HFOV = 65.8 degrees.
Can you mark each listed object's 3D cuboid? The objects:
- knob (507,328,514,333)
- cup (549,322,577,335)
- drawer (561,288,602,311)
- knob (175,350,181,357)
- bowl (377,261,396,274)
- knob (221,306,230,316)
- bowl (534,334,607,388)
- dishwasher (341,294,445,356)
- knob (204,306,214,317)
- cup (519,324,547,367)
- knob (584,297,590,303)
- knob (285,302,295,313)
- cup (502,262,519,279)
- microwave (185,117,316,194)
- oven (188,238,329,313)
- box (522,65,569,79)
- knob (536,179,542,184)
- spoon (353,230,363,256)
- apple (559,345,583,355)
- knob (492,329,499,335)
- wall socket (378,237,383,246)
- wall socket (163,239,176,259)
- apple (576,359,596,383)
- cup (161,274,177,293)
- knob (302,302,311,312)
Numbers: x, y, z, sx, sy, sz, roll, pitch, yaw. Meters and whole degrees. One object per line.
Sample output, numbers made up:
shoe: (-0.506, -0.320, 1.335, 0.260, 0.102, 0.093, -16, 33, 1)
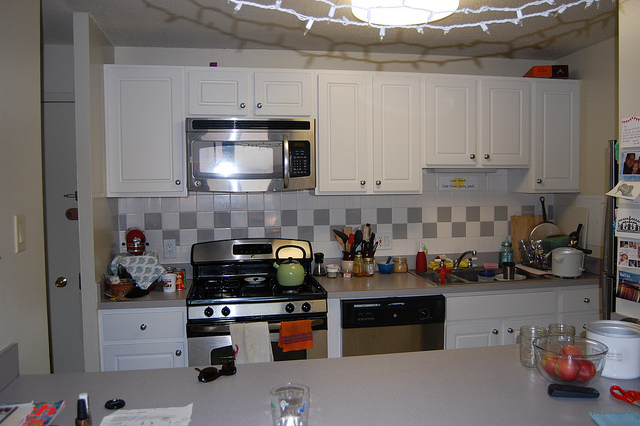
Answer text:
knob: (1.540, 0.951, 3.992, 0.048, 0.042, 0.014, -2, 12, -6)
cup: (1.341, 0.639, 2.754, 0.074, 0.072, 0.071, 1, 0, 0)
drawer: (2.139, 0.717, 4.074, 0.312, 0.178, 0.194, -1, 1, -17)
knob: (-1.044, 1.043, 3.670, 0.036, 0.032, 0.036, 4, 5, -2)
bowl: (0.594, 0.473, 4.385, 0.153, 0.100, 0.151, -1, 12, 0)
knob: (-0.698, 0.729, 3.672, 0.060, 0.070, 0.018, -4, -1, -11)
bowl: (1.308, 0.770, 2.589, 0.336, 0.180, 0.324, -5, 4, 0)
dishwasher: (0.554, 0.879, 3.998, 0.770, 0.448, 0.573, 1, 8, -11)
knob: (-0.818, 0.733, 3.661, 0.060, 0.070, 0.015, -2, 12, -5)
cup: (1.169, 0.741, 2.727, 0.146, 0.209, 0.140, 1, 4, 0)
knob: (2.202, 0.726, 4.082, 0.037, 0.034, 0.057, 3, 7, 2)
knob: (-0.221, 0.718, 3.736, 0.067, 0.074, 0.022, -6, 13, -21)
cup: (1.634, 0.499, 4.255, 0.105, 0.150, 0.086, 0, 12, 4)
microwave: (-0.525, -0.445, 4.188, 1.082, 0.613, 0.686, 0, 2, 2)
oven: (-0.521, 0.539, 4.015, 1.037, 0.480, 0.681, -1, 14, -11)
box: (1.969, -1.228, 4.301, 0.378, 0.127, 0.149, -1, 12, -2)
knob: (1.886, -0.267, 4.250, 0.049, 0.034, 0.009, -5, 12, -19)
spoon: (0.336, 0.253, 4.301, 0.075, 0.208, 0.150, 1, 12, 8)
apple: (1.293, 0.704, 2.550, 0.080, 0.073, 0.074, 1, -2, 2)
knob: (1.412, 0.959, 3.977, 0.050, 0.047, 0.020, -3, 12, -8)
wall socket: (0.546, 0.258, 4.465, 0.051, 0.082, 0.025, -9, 14, -33)
wall socket: (-1.274, 0.306, 4.227, 0.096, 0.156, 0.035, -2, 12, -5)
apple: (1.318, 0.784, 2.485, 0.101, 0.103, 0.108, 2, 8, 21)
cup: (-1.176, 0.555, 3.878, 0.134, 0.127, 0.122, 1, 0, 0)
knob: (-0.097, 0.713, 3.749, 0.062, 0.068, 0.022, -2, 12, -4)
